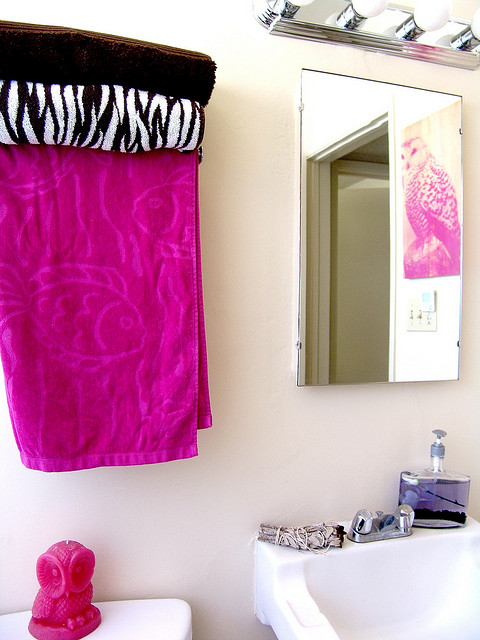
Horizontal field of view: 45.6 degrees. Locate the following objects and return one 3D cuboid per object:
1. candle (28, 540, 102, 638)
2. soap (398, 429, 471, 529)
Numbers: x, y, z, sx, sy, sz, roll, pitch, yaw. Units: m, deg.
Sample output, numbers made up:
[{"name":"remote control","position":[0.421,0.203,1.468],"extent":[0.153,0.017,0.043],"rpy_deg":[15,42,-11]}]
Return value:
[{"name":"candle","position":[-0.294,0.455,0.950],"extent":[0.114,0.135,0.068],"rpy_deg":[-1,3,-11]},{"name":"soap","position":[0.406,0.340,1.206],"extent":[0.152,0.278,0.126],"rpy_deg":[2,-4,-5]}]
